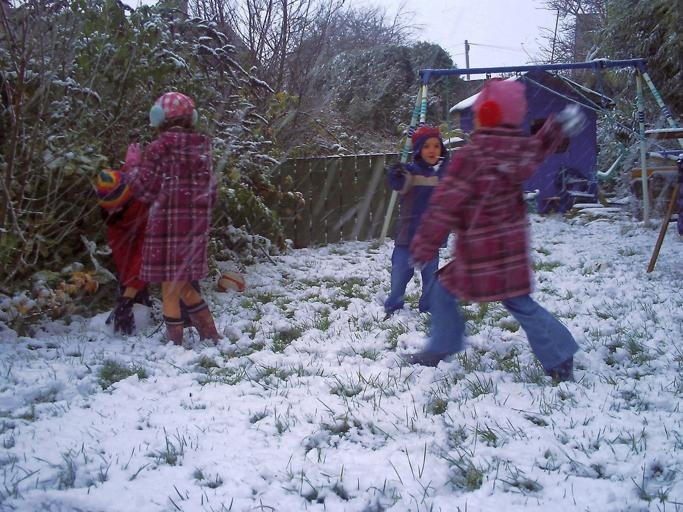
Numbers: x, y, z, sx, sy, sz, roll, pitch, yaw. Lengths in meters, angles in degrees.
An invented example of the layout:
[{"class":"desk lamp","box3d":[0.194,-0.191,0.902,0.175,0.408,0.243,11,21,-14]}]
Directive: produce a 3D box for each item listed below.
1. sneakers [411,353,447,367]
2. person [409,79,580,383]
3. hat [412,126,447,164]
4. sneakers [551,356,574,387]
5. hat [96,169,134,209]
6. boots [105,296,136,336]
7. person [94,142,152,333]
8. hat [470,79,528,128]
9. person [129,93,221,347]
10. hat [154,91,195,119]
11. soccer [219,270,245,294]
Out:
[{"class":"sneakers","box3d":[0.596,0.730,3.882,0.183,0.105,0.073,8,19,6]},{"class":"person","box3d":[0.980,-0.139,3.564,1.054,1.905,0.397,0,12,4]},{"class":"hat","box3d":[0.766,-0.960,4.805,0.254,0.303,0.309,-8,15,-10]},{"class":"sneakers","box3d":[1.433,0.752,3.565,0.154,0.170,0.139,4,-4,-29]},{"class":"hat","box3d":[-1.762,-0.512,4.243,0.309,0.275,0.232,-5,2,-30]},{"class":"boots","box3d":[-1.785,0.505,4.567,0.269,0.294,0.111,14,-7,11]},{"class":"person","box3d":[-1.782,-0.164,4.512,0.320,1.300,1.268,2,17,-9]},{"class":"hat","box3d":[1.014,-0.987,3.583,0.251,0.313,0.349,1,15,0]},{"class":"person","box3d":[-1.299,-0.277,4.326,0.633,1.924,0.357,-5,13,-18]},{"class":"hat","box3d":[-1.272,-1.165,4.250,0.206,0.188,0.238,15,34,33]},{"class":"soccer","box3d":[-1.157,0.273,5.816,0.209,0.245,0.190,0,-19,-42]}]
